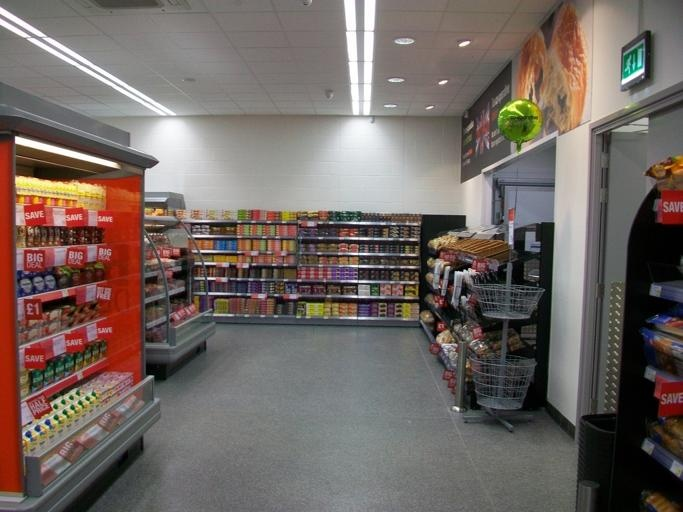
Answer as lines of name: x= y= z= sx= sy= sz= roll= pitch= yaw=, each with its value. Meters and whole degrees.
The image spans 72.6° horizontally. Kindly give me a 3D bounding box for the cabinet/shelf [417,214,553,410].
cabinet/shelf: x=1.719 y=0.718 z=5.521 sx=0.782 sy=1.516 sz=2.415 roll=1 pitch=3 yaw=4
